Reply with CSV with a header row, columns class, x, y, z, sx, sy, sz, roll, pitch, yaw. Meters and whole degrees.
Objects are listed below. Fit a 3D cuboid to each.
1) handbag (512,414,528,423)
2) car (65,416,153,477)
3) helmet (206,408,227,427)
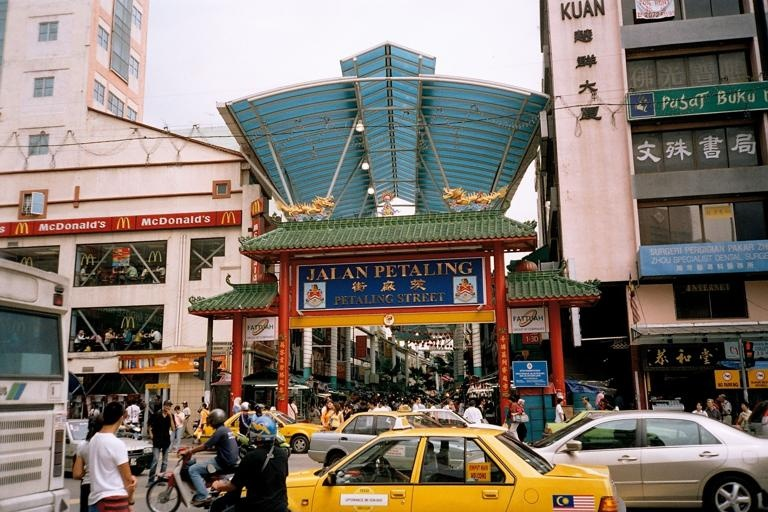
class,x,y,z,sx,sy,sz,roll,pitch,yaw
handbag,5.306,6.372,32.225,0.541,0.209,0.375,1,-3,-19
car,-10.697,6.987,30.700,4.992,1.900,2.839,-9,-14,29
helmet,-4.907,4.694,23.953,0.635,0.472,0.459,9,2,21
